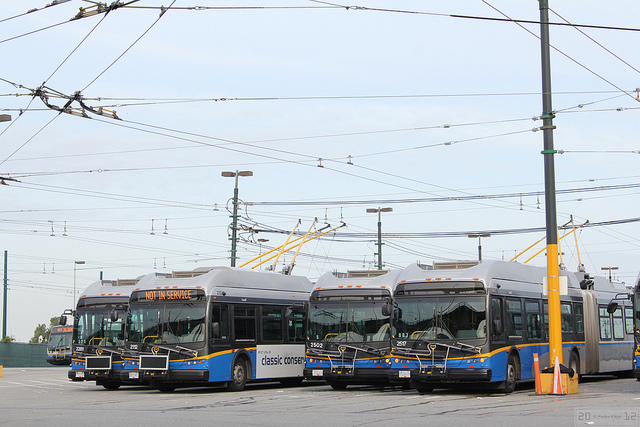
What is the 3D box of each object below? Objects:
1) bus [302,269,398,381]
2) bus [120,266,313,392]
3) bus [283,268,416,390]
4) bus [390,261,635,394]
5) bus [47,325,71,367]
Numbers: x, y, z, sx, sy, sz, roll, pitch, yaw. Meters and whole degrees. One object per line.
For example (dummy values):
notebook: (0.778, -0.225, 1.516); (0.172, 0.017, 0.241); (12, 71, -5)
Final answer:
bus: (2.814, 4.315, 36.360); (3.342, 3.868, 10.045); (-3, -6, 24)
bus: (-3.704, 4.596, 36.179); (4.384, 3.536, 10.765); (-3, -8, 23)
bus: (3.299, 4.728, 36.342); (4.242, 4.094, 10.962); (-3, -11, 26)
bus: (6.611, 4.181, 33.927); (16.454, 3.983, 4.719); (9, -13, -44)
bus: (-16.762, 8.459, 59.614); (0.799, 2.549, 2.290); (12, -19, -38)
